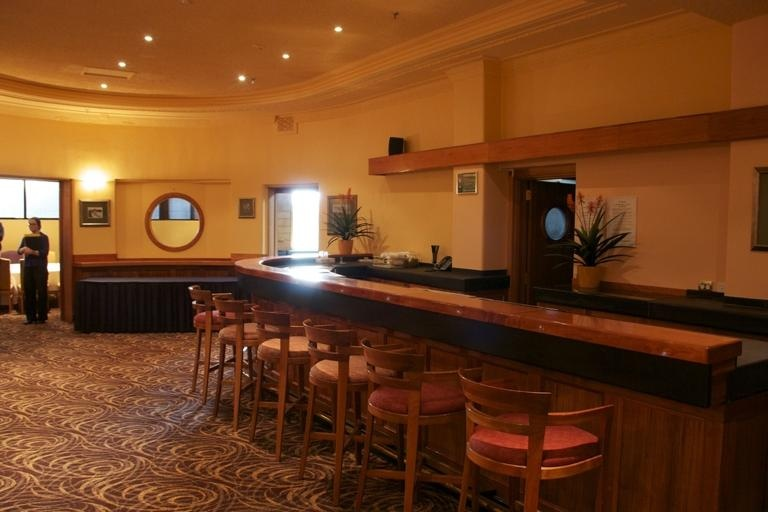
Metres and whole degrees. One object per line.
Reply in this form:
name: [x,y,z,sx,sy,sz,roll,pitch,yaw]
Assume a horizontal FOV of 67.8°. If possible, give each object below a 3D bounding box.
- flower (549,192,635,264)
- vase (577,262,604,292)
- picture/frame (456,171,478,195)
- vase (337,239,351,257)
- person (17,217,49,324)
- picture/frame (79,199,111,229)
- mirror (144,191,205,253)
flower: [2.492,-0.335,7.031,1.022,0.779,0.963,-3,6,-17]
vase: [2.433,0.265,6.743,0.306,0.223,0.294,2,3,29]
picture/frame: [1.172,-1.033,8.024,0.059,0.309,0.377,-6,11,-37]
vase: [-0.655,-0.127,9.632,0.269,0.284,0.253,-1,4,-15]
person: [-6.419,0.258,10.533,0.446,1.945,0.645,-5,11,-31]
picture/frame: [-5.804,-0.855,11.399,0.666,0.591,0.065,0,-1,-26]
mirror: [-4.383,-0.749,11.819,1.304,1.327,0.158,5,2,-8]
